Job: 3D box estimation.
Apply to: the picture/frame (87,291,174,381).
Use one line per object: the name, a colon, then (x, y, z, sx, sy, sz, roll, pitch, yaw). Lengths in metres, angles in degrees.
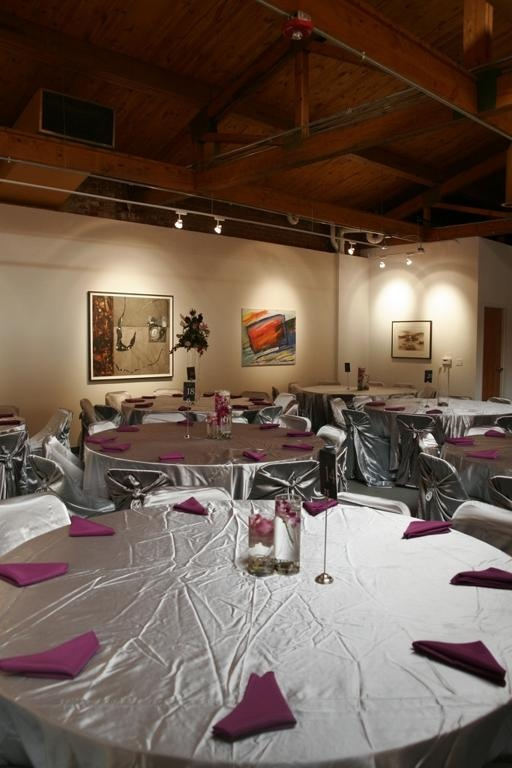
picture/frame: (-1.892, -0.717, 7.528, 1.301, 1.309, 0.087, -5, 7, -38)

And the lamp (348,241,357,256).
lamp: (2.045, -2.882, 10.968, 0.159, 0.336, 0.485, 1, 2, 14)

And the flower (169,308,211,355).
flower: (-0.649, -0.566, 5.299, 0.268, 0.467, 0.797, 0, 2, -9)

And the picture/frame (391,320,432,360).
picture/frame: (3.182, -0.908, 10.330, 0.031, 0.775, 0.765, -3, 8, -44)

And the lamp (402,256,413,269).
lamp: (3.056, -2.487, 10.235, 0.158, 0.194, 0.336, 1, 2, 14)
